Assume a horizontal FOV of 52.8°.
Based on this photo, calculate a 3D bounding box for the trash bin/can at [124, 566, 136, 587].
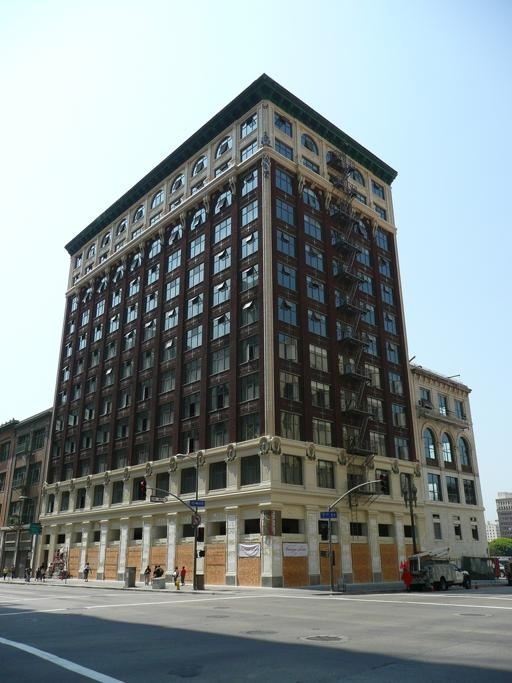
[{"bbox_3d":[-9.603,18.022,39.551,0.786,1.390,1.407,6,-29,-13],"label":"trash bin/can"}]

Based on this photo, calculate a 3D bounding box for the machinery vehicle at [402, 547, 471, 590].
[{"bbox_3d":[11.486,15.369,34.795,6.143,2.834,2.722,13,-20,-40],"label":"machinery vehicle"}]
